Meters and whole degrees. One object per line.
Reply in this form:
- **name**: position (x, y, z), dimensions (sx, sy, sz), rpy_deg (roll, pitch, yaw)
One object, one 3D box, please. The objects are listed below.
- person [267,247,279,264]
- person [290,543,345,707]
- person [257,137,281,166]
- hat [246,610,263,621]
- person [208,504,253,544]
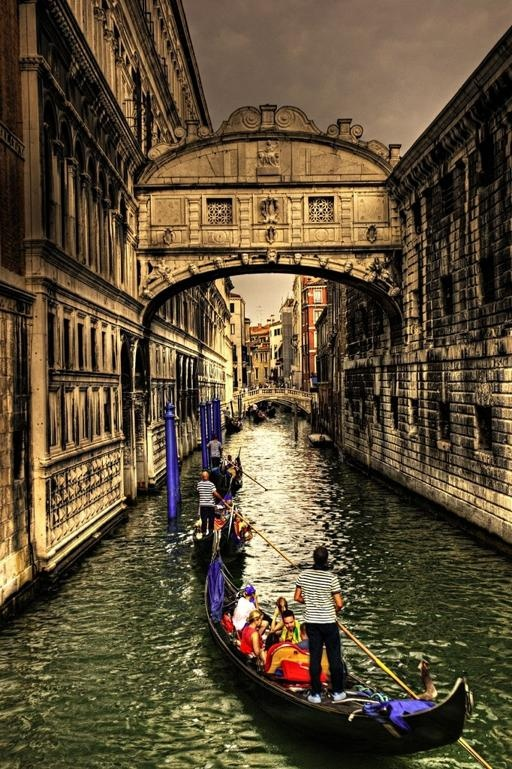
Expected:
- **person**: position (0.531, -4.266, 23.042), dimensions (0.375, 0.440, 0.731), rpy_deg (2, 8, 0)
- **person**: position (0.662, 2.406, 7.004), dimensions (0.439, 1.602, 0.441), rpy_deg (-6, -1, -41)
- **person**: position (0.385, -7.698, 22.914), dimensions (0.748, 1.223, 0.262), rpy_deg (0, 3, -3)
- **hat**: position (0.004, 2.889, 8.809), dimensions (0.128, 0.154, 0.226), rpy_deg (11, -2, 21)
- **person**: position (-0.451, 3.158, 14.984), dimensions (0.648, 0.580, 1.235), rpy_deg (1, 21, 0)
